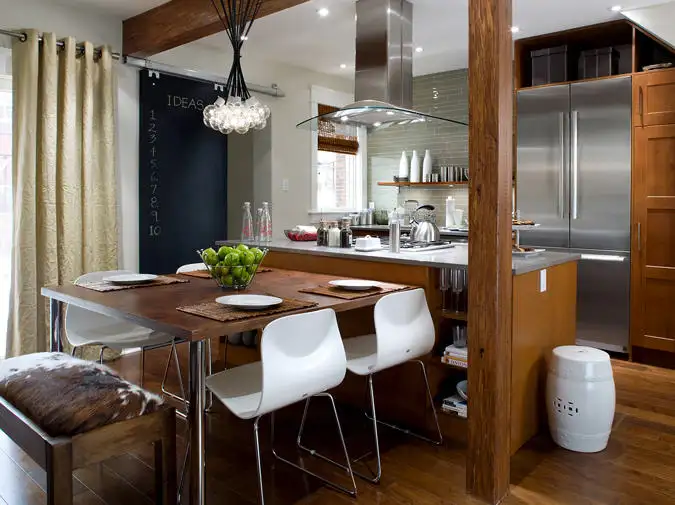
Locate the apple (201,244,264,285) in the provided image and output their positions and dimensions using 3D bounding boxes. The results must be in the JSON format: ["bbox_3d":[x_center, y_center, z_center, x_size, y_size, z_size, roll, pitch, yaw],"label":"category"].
[{"bbox_3d":[-0.591,0.081,3.060,0.278,0.157,0.281,0,-2,9],"label":"apple"}]

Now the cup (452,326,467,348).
[{"bbox_3d":[0.758,0.520,3.074,0.113,0.124,0.114,0,1,0],"label":"cup"}]

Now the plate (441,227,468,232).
[{"bbox_3d":[1.287,-0.246,5.444,0.248,0.022,0.431,3,10,16],"label":"plate"}]

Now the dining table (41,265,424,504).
[{"bbox_3d":[-0.591,0.341,2.846,1.364,0.854,1.373,3,2,43],"label":"dining table"}]

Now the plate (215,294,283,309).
[{"bbox_3d":[-0.456,0.251,2.558,0.335,0.045,0.218,-1,10,-7],"label":"plate"}]

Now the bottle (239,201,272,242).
[{"bbox_3d":[-0.726,-0.273,4.342,0.233,0.338,0.448,-4,10,-24],"label":"bottle"}]

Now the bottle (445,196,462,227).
[{"bbox_3d":[1.360,-0.461,5.786,0.205,0.330,0.500,2,10,12],"label":"bottle"}]

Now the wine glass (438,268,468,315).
[{"bbox_3d":[0.715,0.225,3.092,0.180,0.312,0.260,3,10,14],"label":"wine glass"}]

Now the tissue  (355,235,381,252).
[{"bbox_3d":[0.236,-0.061,3.660,0.114,0.075,0.143,-6,8,-44],"label":"tissue "}]

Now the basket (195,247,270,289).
[{"bbox_3d":[-0.610,0.074,3.072,0.307,0.174,0.300,0,-3,4],"label":"basket"}]
